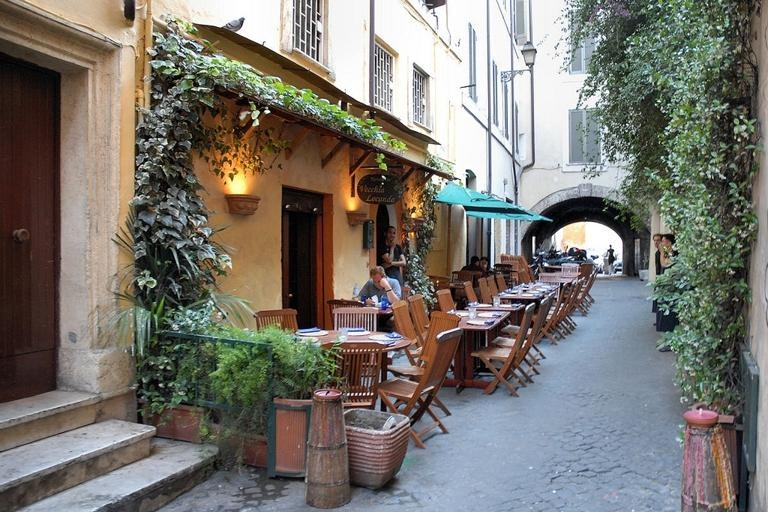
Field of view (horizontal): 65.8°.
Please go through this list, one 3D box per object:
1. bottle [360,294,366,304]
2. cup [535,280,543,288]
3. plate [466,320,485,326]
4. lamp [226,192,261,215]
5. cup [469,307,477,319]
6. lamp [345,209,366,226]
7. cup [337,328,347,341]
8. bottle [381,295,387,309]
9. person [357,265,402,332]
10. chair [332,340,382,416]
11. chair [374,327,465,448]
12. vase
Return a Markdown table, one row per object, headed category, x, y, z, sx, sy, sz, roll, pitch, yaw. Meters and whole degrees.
| category | x | y | z | sx | sy | sz | roll | pitch | yaw |
| --- | --- | --- | --- | --- | --- | --- | --- | --- | --- |
| bottle | -0.396 | 0.781 | 10.492 | 0.085 | 0.170 | 0.088 | -3 | 2 | 0 |
| cup | 4.061 | 0.750 | 15.516 | 0.241 | 0.251 | 0.221 | 0 | 2 | 0 |
| plate | 1.400 | 1.029 | 9.098 | 0.273 | 0.035 | 0.395 | -1 | -1 | 8 |
| lamp | -2.072 | -0.745 | 8.858 | 0.268 | 0.299 | 0.632 | -1 | -1 | 31 |
| cup | 1.440 | 0.938 | 9.628 | 0.139 | 0.280 | 0.145 | -1 | 1 | 0 |
| lamp | -0.585 | -0.751 | 12.127 | 0.212 | 0.329 | 0.531 | -1 | -1 | 30 |
| cup | -0.548 | 1.014 | 7.605 | 0.098 | 0.113 | 0.099 | 1 | 5 | 0 |
| bottle | -0.032 | 0.803 | 9.764 | 0.113 | 0.193 | 0.111 | -1 | 5 | 0 |
| person | -0.072 | 0.952 | 10.764 | 0.704 | 1.457 | 0.828 | -5 | 9 | -38 |
| chair | -0.280 | 1.321 | 6.624 | 0.584 | 1.006 | 0.666 | 1 | 4 | -6 |
| chair | 0.397 | 1.579 | 7.879 | 1.276 | 1.888 | 1.091 | 4 | 3 | 26 |
| vase | -0.047 | 2.024 | 6.328 | 0.584 | 0.593 | 0.762 | -3 | -8 | 24 |
